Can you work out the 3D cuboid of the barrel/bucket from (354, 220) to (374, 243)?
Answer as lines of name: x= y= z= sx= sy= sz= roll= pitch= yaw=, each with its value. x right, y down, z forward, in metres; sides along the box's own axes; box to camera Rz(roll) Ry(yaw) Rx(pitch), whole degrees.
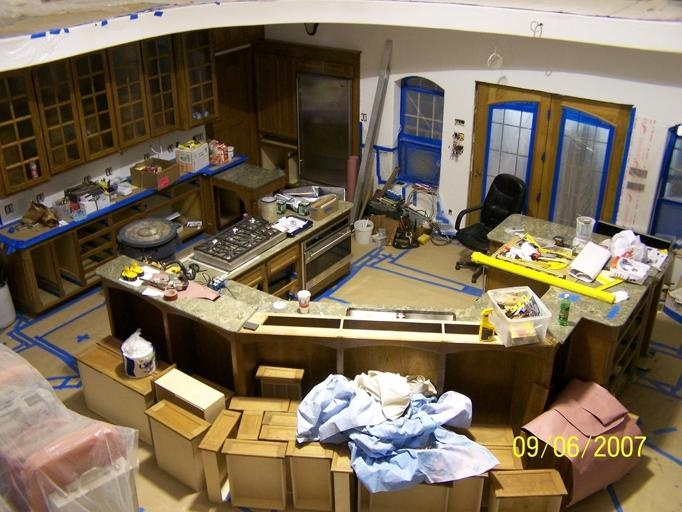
barrel/bucket: x=0.388 y=-0.414 z=8.429 sx=0.304 sy=0.348 sz=0.361 roll=4 pitch=31 yaw=8

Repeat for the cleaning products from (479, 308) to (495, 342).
cleaning products: x=1.289 y=0.576 z=4.454 sx=0.133 sy=0.238 sz=0.247 roll=9 pitch=25 yaw=17

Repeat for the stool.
stool: x=-1.558 y=-0.803 z=8.458 sx=1.021 sy=1.195 sz=0.813 roll=20 pitch=33 yaw=25

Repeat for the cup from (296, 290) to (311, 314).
cup: x=-0.351 y=0.416 z=4.929 sx=0.113 sy=0.207 sz=0.175 roll=-1 pitch=24 yaw=-5

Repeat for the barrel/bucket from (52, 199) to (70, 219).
barrel/bucket: x=-3.678 y=-0.610 z=6.764 sx=0.174 sy=0.231 sz=0.142 roll=-14 pitch=28 yaw=-31

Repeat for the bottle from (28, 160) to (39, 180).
bottle: x=-3.843 y=-1.081 z=6.409 sx=0.113 sy=0.227 sz=0.054 roll=-14 pitch=28 yaw=-31

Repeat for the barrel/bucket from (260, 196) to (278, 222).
barrel/bucket: x=-0.913 y=-0.630 z=6.703 sx=0.287 sy=0.310 sz=0.289 roll=0 pitch=32 yaw=0

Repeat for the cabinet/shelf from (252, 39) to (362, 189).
cabinet/shelf: x=-0.524 y=-2.515 z=8.783 sx=2.191 sy=2.647 sz=0.977 roll=11 pitch=33 yaw=18

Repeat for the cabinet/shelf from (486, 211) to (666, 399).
cabinet/shelf: x=1.952 y=0.494 z=5.482 sx=2.312 sy=1.026 sz=1.732 roll=10 pitch=19 yaw=4

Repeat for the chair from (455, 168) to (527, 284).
chair: x=2.179 y=-0.401 z=7.408 sx=0.871 sy=1.466 sz=0.918 roll=-8 pitch=28 yaw=-7

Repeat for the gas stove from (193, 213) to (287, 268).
gas stove: x=-1.193 y=-0.160 z=6.163 sx=0.604 sy=0.264 sz=1.092 roll=14 pitch=26 yaw=26

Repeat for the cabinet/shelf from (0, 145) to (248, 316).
cabinet/shelf: x=-2.928 y=-0.337 z=6.581 sx=0.518 sy=0.773 sz=2.626 roll=24 pitch=47 yaw=28

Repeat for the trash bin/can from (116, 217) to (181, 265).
trash bin/can: x=-2.237 y=-0.192 z=5.986 sx=0.574 sy=0.403 sz=0.571 roll=1 pitch=26 yaw=-3
